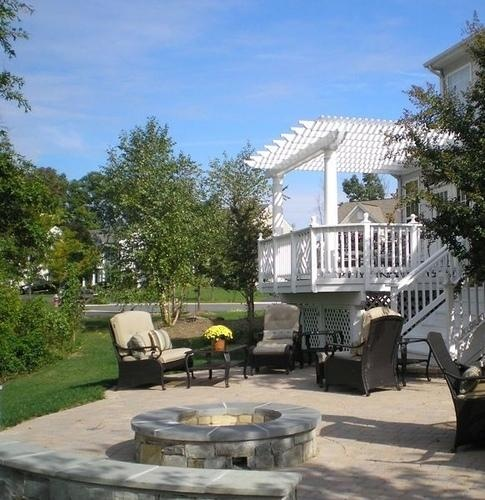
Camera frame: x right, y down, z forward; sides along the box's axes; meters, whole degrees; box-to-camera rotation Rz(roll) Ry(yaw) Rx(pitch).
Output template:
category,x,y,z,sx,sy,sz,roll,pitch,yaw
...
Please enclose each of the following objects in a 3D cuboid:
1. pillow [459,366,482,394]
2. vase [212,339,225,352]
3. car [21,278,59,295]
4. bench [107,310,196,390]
category,x,y,z,sx,sy,sz,roll,pitch,yaw
pillow,2.432,1.425,7.222,0.271,0.289,0.340,0,3,12
vase,-0.426,1.739,12.005,0.207,0.165,0.191,1,-7,-3
car,-13.624,2.449,44.597,2.236,0.988,2.082,1,-7,-12
bench,-1.611,1.796,11.823,1.344,1.318,2.073,-1,-6,16
